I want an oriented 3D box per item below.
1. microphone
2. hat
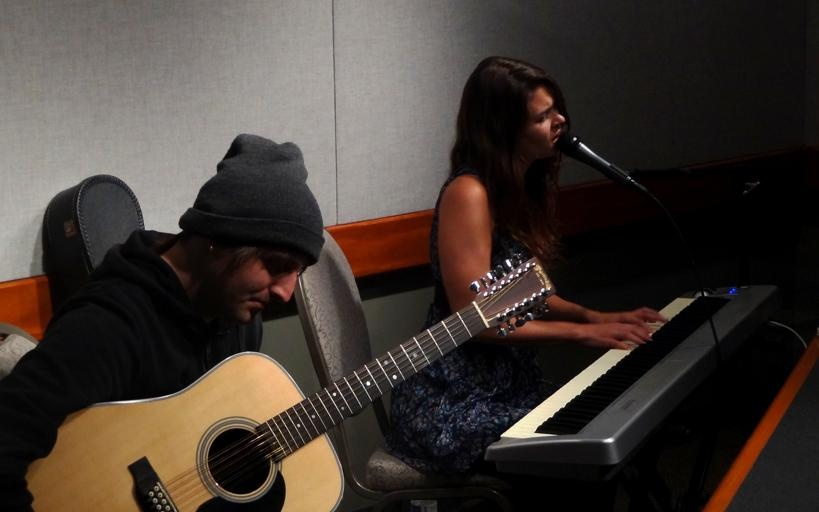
[{"bbox_3d":[0.611,-0.330,2.322,0.193,0.157,0.298,-8,26,-7],"label":"microphone"},{"bbox_3d":[-0.458,-0.176,2.095,0.464,0.408,0.422,1,-11,28],"label":"hat"}]
